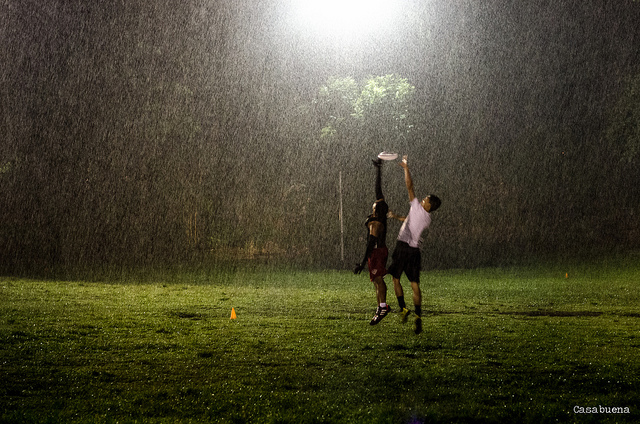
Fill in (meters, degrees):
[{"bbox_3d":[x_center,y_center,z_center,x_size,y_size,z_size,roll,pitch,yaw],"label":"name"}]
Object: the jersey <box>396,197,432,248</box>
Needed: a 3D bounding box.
[{"bbox_3d":[2.755,0.321,19.506,0.849,1.546,1.339,0,0,0],"label":"jersey"}]
